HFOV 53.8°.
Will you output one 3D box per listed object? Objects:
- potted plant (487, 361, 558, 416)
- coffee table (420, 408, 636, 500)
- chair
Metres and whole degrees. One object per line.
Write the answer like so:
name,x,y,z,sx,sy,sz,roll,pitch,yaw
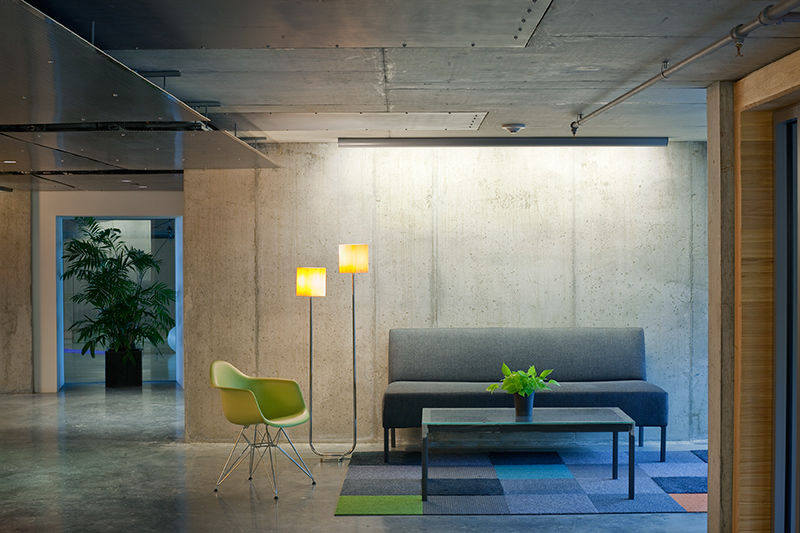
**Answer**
potted plant,1.313,1.304,8.349,0.752,0.387,0.640,1,-10,-5
coffee table,1.270,1.866,8.285,2.131,0.775,1.233,-1,7,0
chair,-1.497,1.627,8.533,1.040,1.222,1.659,-2,8,-10
